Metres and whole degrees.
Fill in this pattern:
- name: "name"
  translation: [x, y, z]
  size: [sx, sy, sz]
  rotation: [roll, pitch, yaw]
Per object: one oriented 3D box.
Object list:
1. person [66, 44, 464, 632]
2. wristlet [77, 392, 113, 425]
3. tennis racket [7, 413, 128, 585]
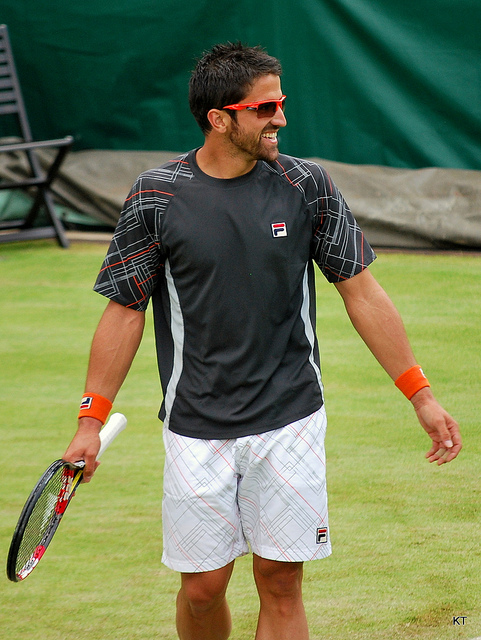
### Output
- name: "person"
  translation: [-0.025, 0.091, 1.932]
  size: [0.666, 1.452, 0.796]
  rotation: [22, 37, 39]
- name: "wristlet"
  translation: [-0.361, 0.230, 2.013]
  size: [0.097, 0.082, 0.062]
  rotation: [10, 70, 13]
- name: "tennis racket"
  translation: [-0.574, 0.628, 2.575]
  size: [0.064, 0.191, 0.749]
  rotation: [22, 22, 9]
